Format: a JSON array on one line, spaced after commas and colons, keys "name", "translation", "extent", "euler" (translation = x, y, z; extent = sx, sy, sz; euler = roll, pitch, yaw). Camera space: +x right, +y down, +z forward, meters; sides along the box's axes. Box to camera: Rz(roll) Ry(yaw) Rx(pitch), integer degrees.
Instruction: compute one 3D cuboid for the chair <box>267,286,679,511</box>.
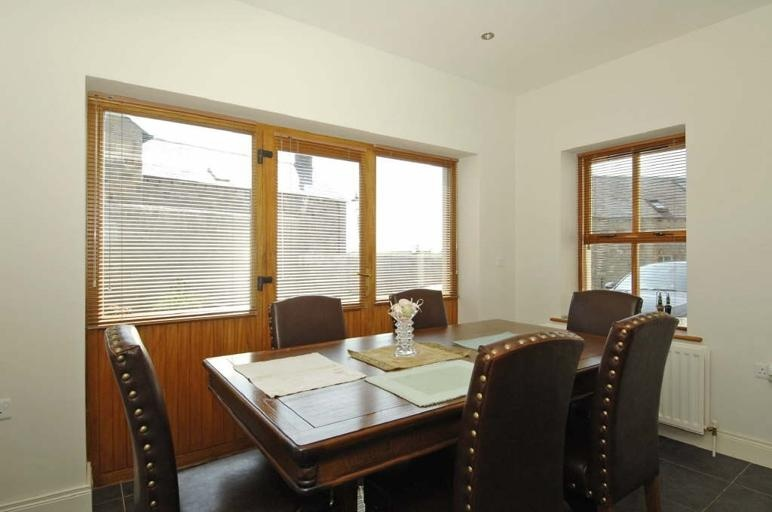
[{"name": "chair", "translation": [0.556, 0.941, 3.344], "extent": [1.601, 0.752, 0.862], "euler": [1, -4, -35]}]
